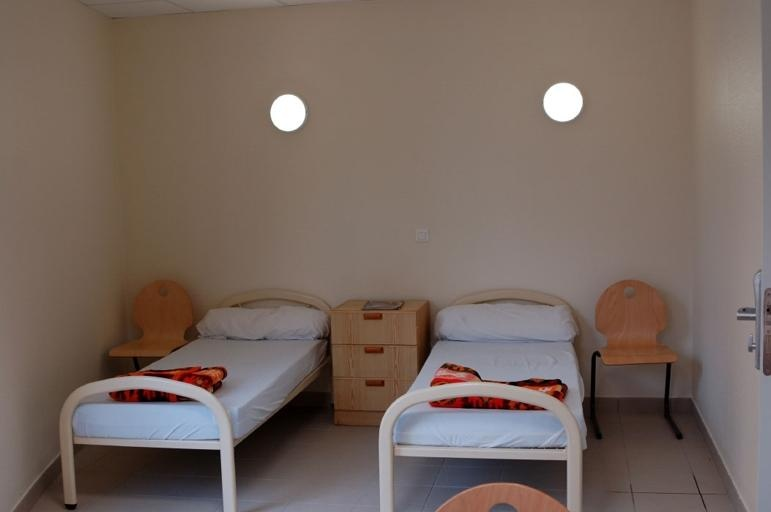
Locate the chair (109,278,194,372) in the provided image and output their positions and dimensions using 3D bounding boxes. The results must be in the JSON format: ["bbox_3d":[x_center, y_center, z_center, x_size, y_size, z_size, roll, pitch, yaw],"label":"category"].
[{"bbox_3d":[-1.961,0.606,5.139,0.770,1.052,0.715,-1,1,-1],"label":"chair"}]

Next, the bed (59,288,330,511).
[{"bbox_3d":[-1.213,0.996,4.237,0.879,0.712,1.668,0,3,8],"label":"bed"}]

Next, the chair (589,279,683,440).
[{"bbox_3d":[1.968,0.789,4.553,0.677,1.160,0.634,1,6,20],"label":"chair"}]

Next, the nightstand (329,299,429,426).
[{"bbox_3d":[-0.073,0.902,4.938,0.737,0.968,0.560,-1,8,-1],"label":"nightstand"}]
